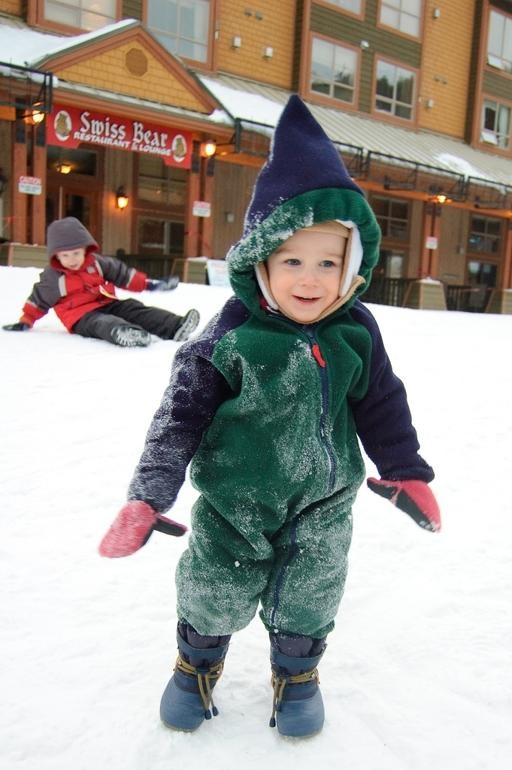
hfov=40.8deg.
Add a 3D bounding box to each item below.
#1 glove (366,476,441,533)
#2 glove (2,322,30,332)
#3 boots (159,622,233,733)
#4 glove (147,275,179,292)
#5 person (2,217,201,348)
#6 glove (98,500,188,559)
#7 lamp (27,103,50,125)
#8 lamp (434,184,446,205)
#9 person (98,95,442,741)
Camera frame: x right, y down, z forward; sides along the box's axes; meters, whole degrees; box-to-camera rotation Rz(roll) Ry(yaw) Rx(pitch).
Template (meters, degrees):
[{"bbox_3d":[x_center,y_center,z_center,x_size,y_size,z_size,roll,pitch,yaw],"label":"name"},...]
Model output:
[{"bbox_3d":[0.377,0.282,1.750,0.204,0.085,0.107,29,-9,35],"label":"glove"},{"bbox_3d":[-2.135,-0.508,6.097,0.230,0.087,0.218,3,6,-19],"label":"glove"},{"bbox_3d":[-0.170,0.750,1.825,0.125,0.235,0.290,7,6,17],"label":"boots"},{"bbox_3d":[-1.074,-1.138,7.855,0.318,0.115,0.304,-11,17,-33],"label":"glove"},{"bbox_3d":[-1.388,-0.877,6.287,1.489,0.897,1.488,20,43,38],"label":"person"},{"bbox_3d":[-0.222,0.320,1.566,0.090,0.099,0.255,12,16,35],"label":"glove"},{"bbox_3d":[-3.540,-4.291,10.976,0.391,0.382,0.321,21,32,36],"label":"lamp"},{"bbox_3d":[4.443,-4.541,16.657,0.349,0.451,0.336,6,22,17],"label":"lamp"},{"bbox_3d":[0.048,0.100,1.689,0.827,1.616,0.316,3,7,-16],"label":"person"}]
